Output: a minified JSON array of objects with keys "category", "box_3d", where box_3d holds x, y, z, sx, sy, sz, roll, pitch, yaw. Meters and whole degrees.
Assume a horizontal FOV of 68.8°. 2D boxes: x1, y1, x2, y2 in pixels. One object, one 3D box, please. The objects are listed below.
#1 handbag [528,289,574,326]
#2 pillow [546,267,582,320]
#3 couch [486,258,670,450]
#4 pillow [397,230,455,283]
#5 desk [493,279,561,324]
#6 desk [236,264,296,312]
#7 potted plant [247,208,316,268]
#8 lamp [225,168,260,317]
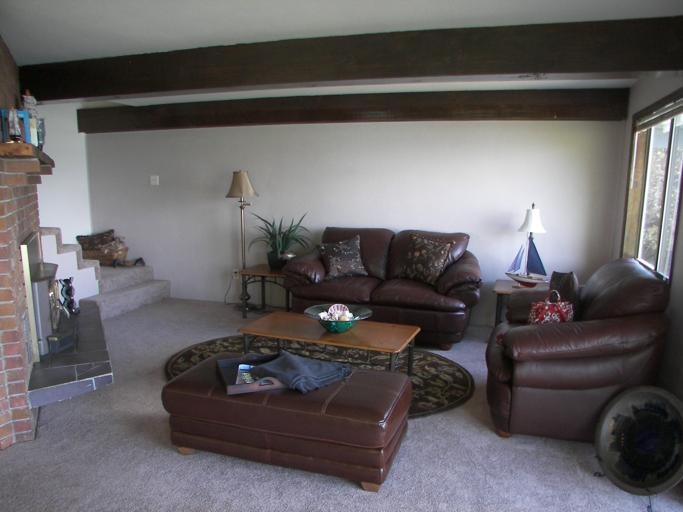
[{"category":"handbag","box_3d":[1.667,0.401,3.865,0.351,0.260,0.174,-5,-3,44]},{"category":"pillow","box_3d":[1.819,0.312,4.089,0.156,0.296,0.426,-1,1,17]},{"category":"couch","box_3d":[1.810,0.607,4.031,1.226,1.042,1.575,-3,11,18]},{"category":"pillow","box_3d":[0.903,0.019,5.330,0.521,0.480,0.156,18,-8,43]},{"category":"desk","box_3d":[1.751,0.427,5.172,0.534,0.449,0.500,-2,9,-12]},{"category":"desk","box_3d":[-0.954,0.447,6.274,0.472,0.430,0.579,-1,7,-20]},{"category":"potted plant","box_3d":[-0.749,-0.233,6.252,0.739,0.545,0.707,1,0,15]},{"category":"lamp","box_3d":[-1.215,-0.203,6.116,0.344,1.715,0.879,-2,10,-12]}]
